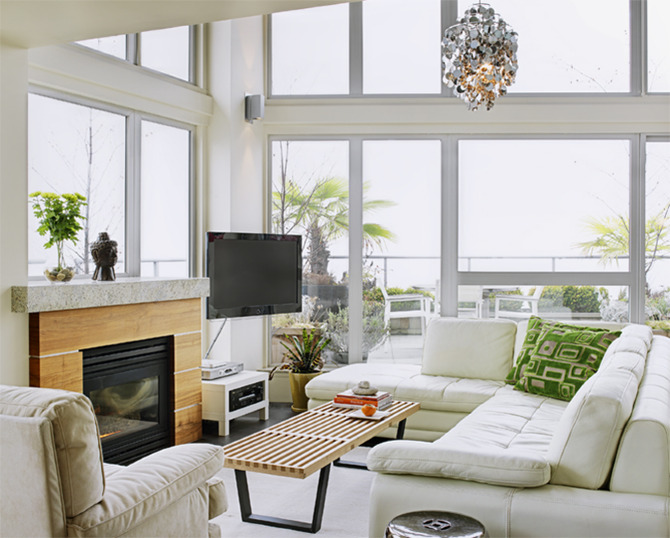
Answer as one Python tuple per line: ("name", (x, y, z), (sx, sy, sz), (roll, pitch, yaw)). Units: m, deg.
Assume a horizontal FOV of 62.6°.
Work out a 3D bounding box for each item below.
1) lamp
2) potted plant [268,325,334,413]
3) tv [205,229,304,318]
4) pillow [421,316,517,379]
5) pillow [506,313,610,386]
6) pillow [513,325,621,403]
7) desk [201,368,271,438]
("lamp", (0.939, -1.420, 3.624), (0.467, 0.727, 0.253), (0, 2, 13))
("potted plant", (-0.345, 0.993, 5.453), (0.723, 1.095, 0.727), (0, 0, 13))
("tv", (-0.775, 0.052, 5.097), (0.092, 0.628, 0.877), (-1, -1, 38))
("pillow", (1.112, 0.703, 4.700), (0.774, 0.511, 0.284), (-1, 4, 28))
("pillow", (1.603, 0.647, 3.904), (0.186, 0.567, 0.601), (36, -14, -34))
("pillow", (1.599, 0.654, 3.899), (0.182, 0.566, 0.594), (36, -20, -29))
("desk", (-0.862, 1.119, 4.810), (0.410, 0.462, 0.718), (-1, -2, 20))
